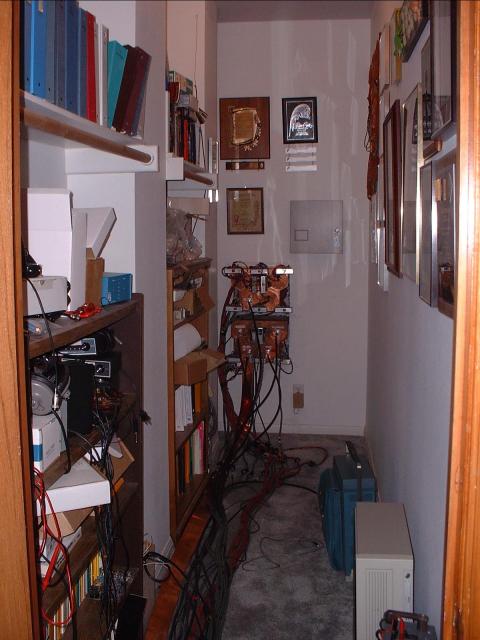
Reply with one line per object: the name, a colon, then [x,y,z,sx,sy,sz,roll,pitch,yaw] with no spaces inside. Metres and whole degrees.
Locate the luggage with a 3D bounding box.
luggage: [0.500,0.875,2.439,0.160,0.500,0.408,-1,6,0]

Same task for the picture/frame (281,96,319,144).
picture/frame: [0.471,-1.552,4.092,0.273,0.029,0.435,5,-32,11]

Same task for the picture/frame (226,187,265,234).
picture/frame: [0.040,-0.876,4.261,0.310,0.546,0.032,-1,-34,1]
